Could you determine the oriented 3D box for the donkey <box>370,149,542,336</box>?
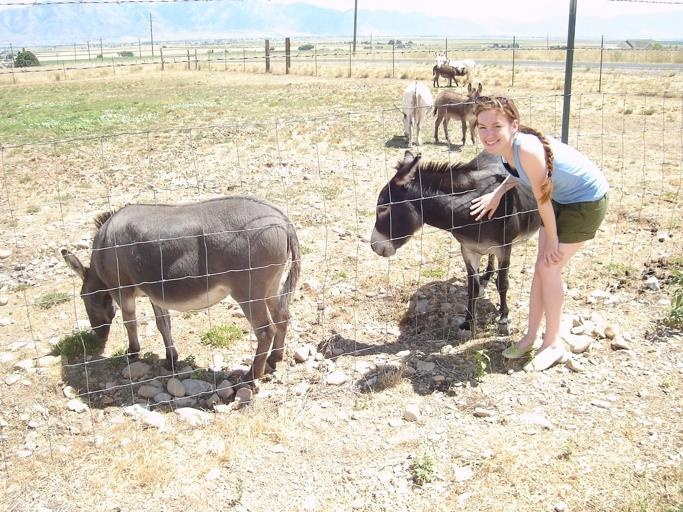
[{"bbox_3d":[1.885,-0.280,8.409,3.191,2.431,1.081,-5,22,-17],"label":"donkey"}]

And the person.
[{"bbox_3d":[2.217,-0.233,6.857,1.402,2.968,0.831,5,23,16],"label":"person"}]

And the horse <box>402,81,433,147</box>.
[{"bbox_3d":[2.197,-4.170,18.162,0.786,1.716,2.011,3,23,13],"label":"horse"}]
